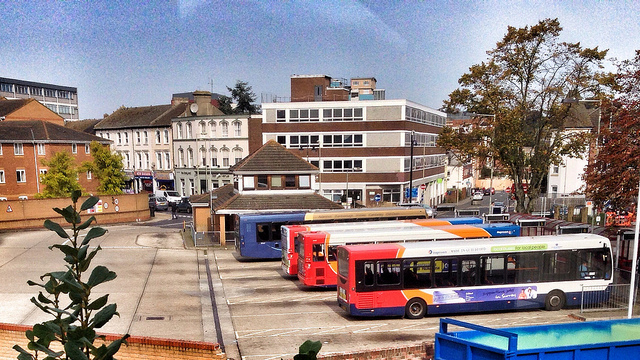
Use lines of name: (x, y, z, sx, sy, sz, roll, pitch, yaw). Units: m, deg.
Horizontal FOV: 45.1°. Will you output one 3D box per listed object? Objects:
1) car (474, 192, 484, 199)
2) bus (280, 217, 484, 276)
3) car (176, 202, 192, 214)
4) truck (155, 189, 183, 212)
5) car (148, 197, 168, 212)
car: (27.258, 2.767, 134.257, 1.109, 1.088, 1.981, -1, 1, 18)
bus: (6.248, 6.712, 76.036, 21.579, 5.255, 5.756, 0, -3, 8)
car: (-19.570, 4.055, 111.005, 2.395, 1.604, 0.867, 0, 2, 33)
truck: (-22.184, 3.040, 115.112, 2.842, 2.313, 4.953, -3, 2, -45)
car: (-23.612, 3.534, 112.913, 0.826, 1.937, 3.186, 0, 1, 40)
